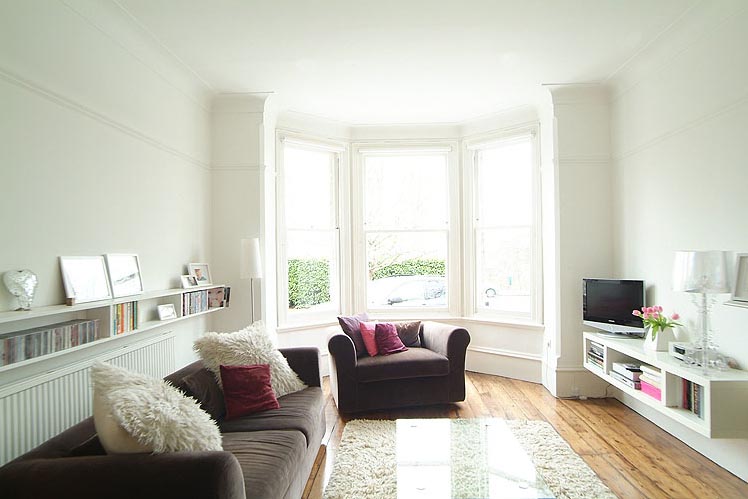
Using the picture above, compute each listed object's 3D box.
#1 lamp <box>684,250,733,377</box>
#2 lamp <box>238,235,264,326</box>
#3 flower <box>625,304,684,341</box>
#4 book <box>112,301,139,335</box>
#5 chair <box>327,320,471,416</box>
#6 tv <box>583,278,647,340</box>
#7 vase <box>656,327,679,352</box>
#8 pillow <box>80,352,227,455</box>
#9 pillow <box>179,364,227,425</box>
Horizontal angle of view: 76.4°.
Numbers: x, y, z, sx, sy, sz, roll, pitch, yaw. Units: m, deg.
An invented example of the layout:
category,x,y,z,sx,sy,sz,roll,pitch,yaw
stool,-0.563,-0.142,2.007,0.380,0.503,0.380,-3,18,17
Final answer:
category,x,y,z,sx,sy,sz,roll,pitch,yaw
lamp,2.848,0.514,4.072,0.330,0.997,0.480,1,3,43
lamp,-1.384,0.366,5.420,0.261,1.000,0.358,-2,3,-15
flower,2.773,0.722,4.597,0.376,0.292,0.408,4,-9,26
book,-2.103,0.578,4.050,0.211,0.276,0.283,-2,-4,8
chair,0.256,1.318,5.298,1.506,0.875,0.517,-1,2,-8
tv,2.557,0.637,5.100,0.226,0.614,0.684,-5,2,-34
vase,2.698,0.855,4.474,0.219,0.207,0.213,-1,-9,7
pillow,-1.445,1.075,3.201,0.835,0.635,0.389,-1,2,4
pillow,-1.376,1.180,3.900,0.188,0.386,0.407,-23,-12,-2
